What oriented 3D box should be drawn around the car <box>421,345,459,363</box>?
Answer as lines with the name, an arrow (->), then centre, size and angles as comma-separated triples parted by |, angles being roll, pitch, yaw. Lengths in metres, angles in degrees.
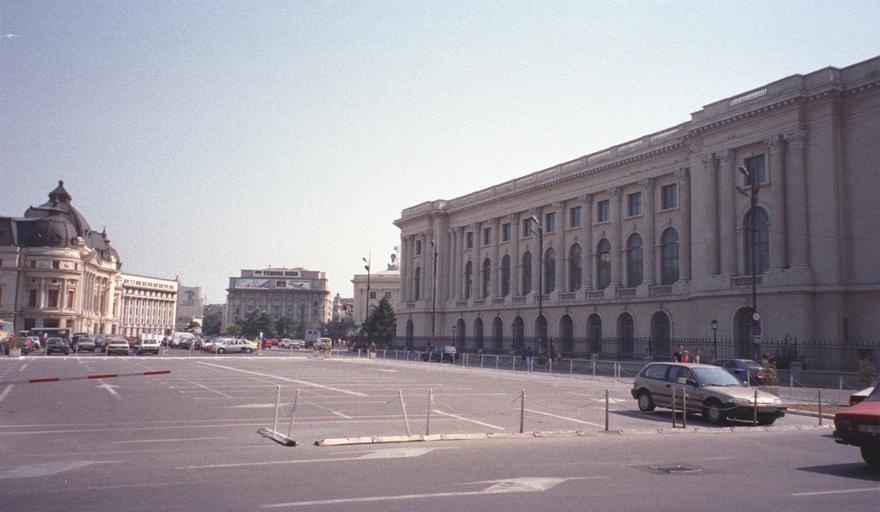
car -> -0.130, 10.151, 89.999 | 1.708, 1.126, 3.641 | 5, -4, -42

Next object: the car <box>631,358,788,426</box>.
car -> 13.642, 6.919, 44.147 | 3.282, 2.129, 6.549 | 5, -10, -36
